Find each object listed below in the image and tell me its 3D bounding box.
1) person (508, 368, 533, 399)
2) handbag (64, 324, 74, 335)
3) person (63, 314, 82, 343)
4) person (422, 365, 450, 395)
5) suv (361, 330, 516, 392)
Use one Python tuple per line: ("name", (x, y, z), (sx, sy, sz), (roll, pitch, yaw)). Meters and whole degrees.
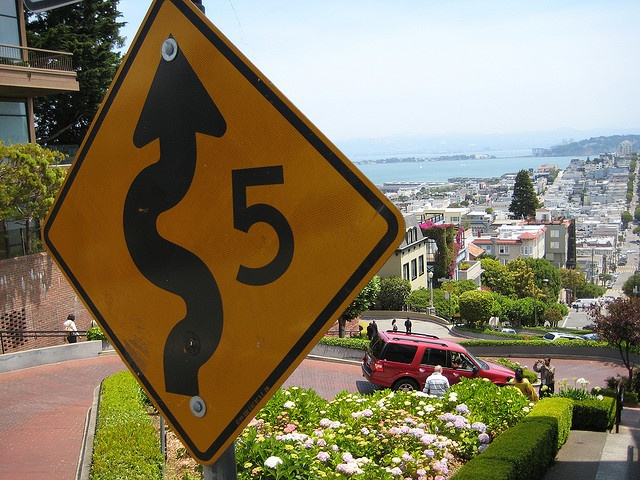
("person", (4.336, 3.084, 13.068), (0.446, 0.661, 0.801), (2, -12, 22))
("handbag", (-8.173, 2.937, 20.055), (0.373, 0.411, 0.212), (-4, 6, -28))
("person", (-8.305, 2.992, 20.620), (0.520, 0.995, 2.367), (10, -12, -21))
("person", (2.356, 2.888, 12.324), (0.499, 0.878, 0.417), (-2, 30, 7))
("suv", (2.724, 2.929, 15.143), (2.791, 1.313, 1.693), (-2, 2, -4))
